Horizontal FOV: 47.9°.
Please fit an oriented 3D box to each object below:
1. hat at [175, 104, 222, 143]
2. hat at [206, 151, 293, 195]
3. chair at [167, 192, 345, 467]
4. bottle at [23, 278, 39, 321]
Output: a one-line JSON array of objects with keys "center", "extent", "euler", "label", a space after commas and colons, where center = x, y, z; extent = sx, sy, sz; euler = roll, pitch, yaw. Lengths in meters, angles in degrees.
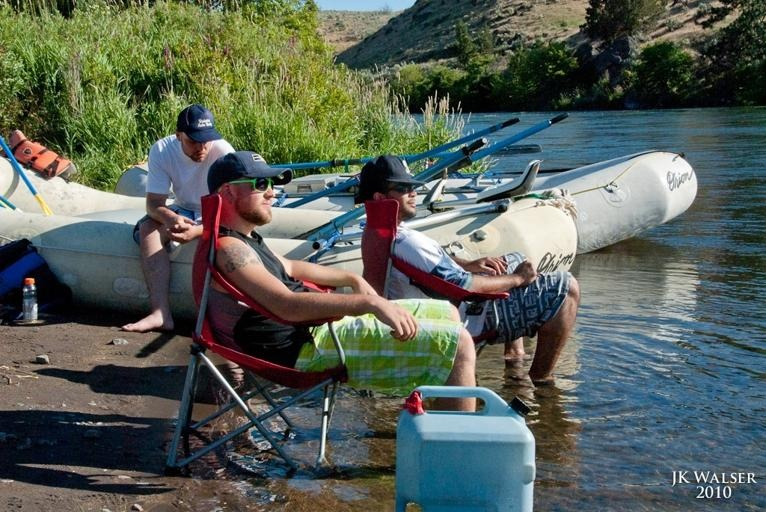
[{"center": [-1.634, -1.152, 7.574], "extent": [0.453, 0.196, 0.308], "euler": [22, 27, 35], "label": "hat"}, {"center": [-0.966, -0.594, 6.184], "extent": [0.561, 0.206, 0.313], "euler": [-13, -2, 5], "label": "hat"}, {"center": [-0.972, 0.537, 6.136], "extent": [1.269, 1.935, 0.863], "euler": [-3, 14, -11], "label": "chair"}, {"center": [-3.155, 0.394, 7.586], "extent": [0.130, 0.387, 0.176], "euler": [-6, 15, -21], "label": "bottle"}]
